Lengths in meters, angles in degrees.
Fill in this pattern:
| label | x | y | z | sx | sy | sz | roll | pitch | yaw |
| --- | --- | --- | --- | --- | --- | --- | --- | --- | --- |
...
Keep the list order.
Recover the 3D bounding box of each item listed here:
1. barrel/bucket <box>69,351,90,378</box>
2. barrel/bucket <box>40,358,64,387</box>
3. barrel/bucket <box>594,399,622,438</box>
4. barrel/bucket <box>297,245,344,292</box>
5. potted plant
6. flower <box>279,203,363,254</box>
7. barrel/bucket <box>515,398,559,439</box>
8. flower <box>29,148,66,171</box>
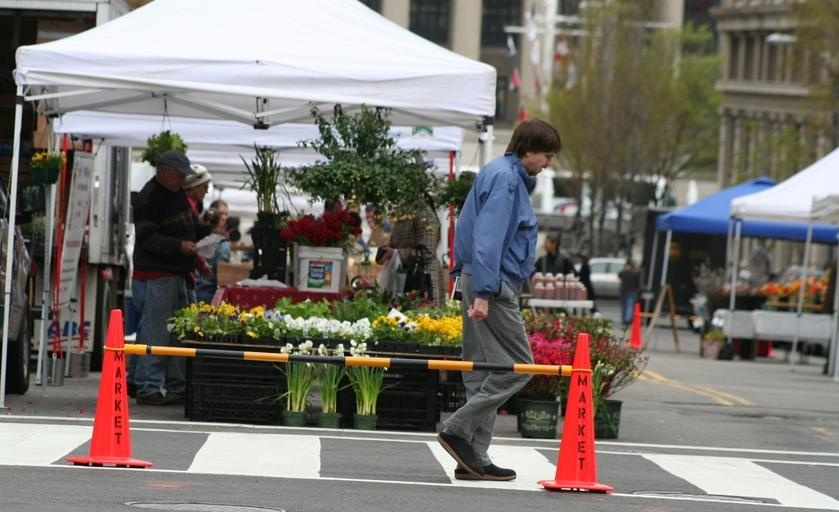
| label | x | y | z | sx | sy | sz | roll | pitch | yaw |
| --- | --- | --- | --- | --- | --- | --- | --- | --- | --- |
| barrel/bucket | -5.545 | 1.766 | 28.381 | 0.377 | 0.427 | 0.384 | 4 | 9 | -1 |
| barrel/bucket | -5.798 | 1.809 | 27.193 | 0.507 | 0.514 | 0.308 | 0 | -2 | 38 |
| barrel/bucket | 2.880 | 2.458 | 25.888 | 0.571 | 0.617 | 0.498 | -3 | -14 | 37 |
| barrel/bucket | -1.715 | 0.215 | 26.634 | 1.057 | 0.711 | 1.078 | 4 | 0 | 0 |
| potted plant | -2.475 | -1.048 | 27.328 | 0.607 | 1.111 | 0.891 | -8 | -5 | -3 |
| flower | -1.501 | -0.412 | 26.582 | 1.361 | 0.750 | 1.244 | -9 | -16 | 41 |
| barrel/bucket | 1.737 | 2.386 | 25.573 | 0.553 | 0.415 | 0.556 | 0 | -5 | 0 |
| flower | -5.581 | -1.437 | 26.170 | 0.315 | 0.226 | 0.343 | 0 | 3 | 9 |
